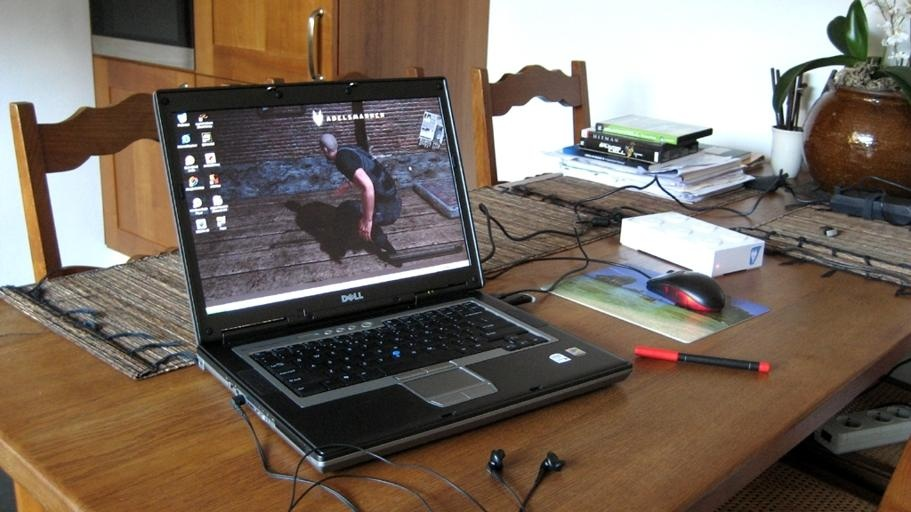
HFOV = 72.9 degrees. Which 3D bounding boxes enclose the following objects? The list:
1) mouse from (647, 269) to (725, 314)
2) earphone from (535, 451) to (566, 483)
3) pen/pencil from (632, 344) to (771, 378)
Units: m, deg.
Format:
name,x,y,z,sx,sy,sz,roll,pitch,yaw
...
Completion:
name,x,y,z,sx,sy,sz,roll,pitch,yaw
mouse,0.435,0.064,1.193,0.125,0.036,0.079,24,32,38
earphone,0.131,0.290,0.859,0.050,0.029,0.020,-18,28,-30
pen/pencil,0.413,0.181,1.044,0.199,0.017,0.018,8,34,18
